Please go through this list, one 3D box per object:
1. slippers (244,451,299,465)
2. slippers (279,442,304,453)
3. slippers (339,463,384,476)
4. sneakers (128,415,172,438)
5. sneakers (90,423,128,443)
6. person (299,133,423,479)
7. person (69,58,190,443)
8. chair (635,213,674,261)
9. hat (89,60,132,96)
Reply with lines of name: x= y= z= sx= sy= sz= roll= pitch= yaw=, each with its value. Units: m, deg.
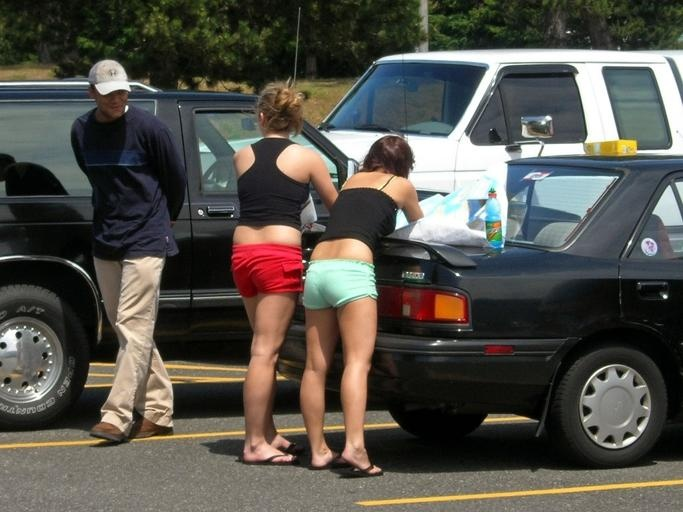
slippers: x=-0.475 y=1.367 z=6.297 sx=0.334 sy=0.048 sz=0.131 roll=-2 pitch=3 yaw=9
slippers: x=-0.330 y=1.327 z=6.502 sx=0.196 sy=0.051 sz=0.069 roll=5 pitch=45 yaw=-33
slippers: x=0.137 y=1.381 z=6.018 sx=0.270 sy=0.068 sz=0.106 roll=-2 pitch=1 yaw=-1
sneakers: x=-1.431 y=1.289 z=7.033 sx=0.328 sy=0.141 sz=0.123 roll=7 pitch=-3 yaw=-20
sneakers: x=-1.648 y=1.270 z=6.649 sx=0.133 sy=0.125 sz=0.270 roll=4 pitch=-4 yaw=-35
person: x=0.096 y=0.309 z=6.160 sx=0.541 sy=2.207 sz=0.696 roll=4 pitch=6 yaw=34
person: x=-1.514 y=-0.037 z=6.760 sx=0.798 sy=2.697 sz=0.461 roll=-1 pitch=5 yaw=-16
chair: x=2.123 y=-0.109 z=6.336 sx=0.242 sy=0.353 sz=0.299 roll=0 pitch=-5 yaw=6
hat: x=-1.619 y=-1.241 z=6.542 sx=0.204 sy=0.155 sz=0.304 roll=-5 pitch=16 yaw=-22
